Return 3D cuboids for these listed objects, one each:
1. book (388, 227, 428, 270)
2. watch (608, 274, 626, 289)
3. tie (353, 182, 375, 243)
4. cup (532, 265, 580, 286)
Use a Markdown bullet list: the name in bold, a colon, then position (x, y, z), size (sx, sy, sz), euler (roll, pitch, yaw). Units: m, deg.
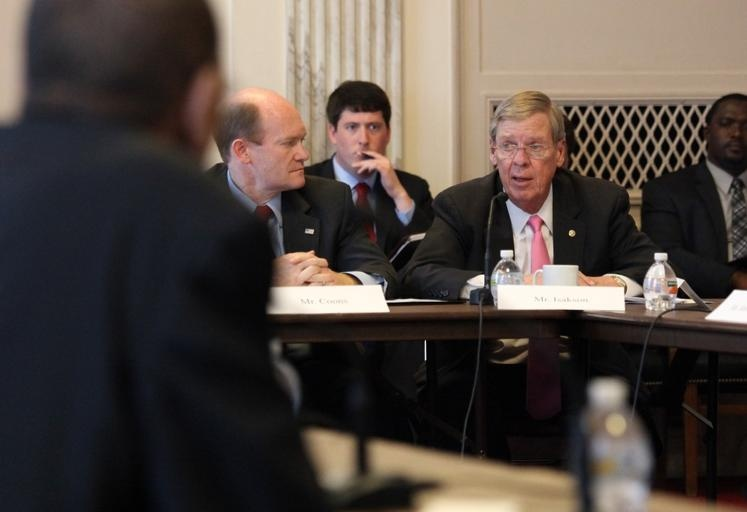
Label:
- **book**: position (0.130, -0.018, 2.958), size (0.038, 0.144, 0.147), euler (35, 17, 26)
- **watch**: position (0.820, 0.086, 2.489), size (0.058, 0.047, 0.112), euler (0, -2, 19)
- **tie**: position (-0.037, -0.238, 3.682), size (0.077, 0.385, 0.049), euler (-3, -20, -7)
- **cup**: position (0.531, 0.056, 2.164), size (0.090, 0.073, 0.071), euler (-1, -3, 26)
